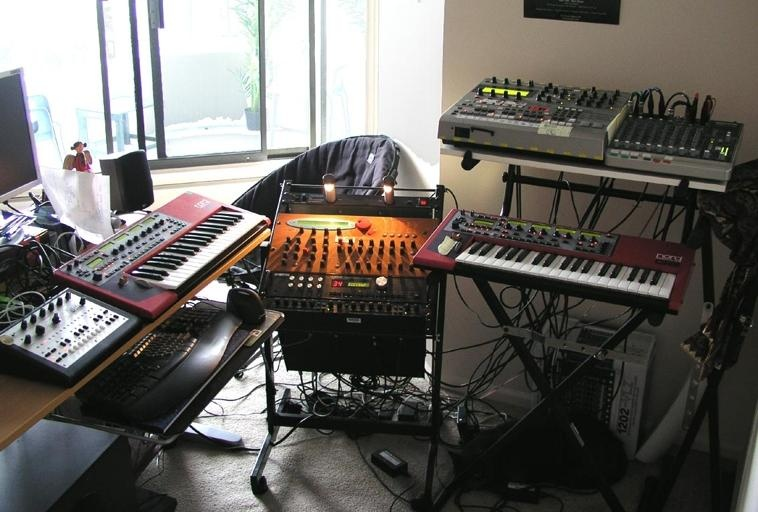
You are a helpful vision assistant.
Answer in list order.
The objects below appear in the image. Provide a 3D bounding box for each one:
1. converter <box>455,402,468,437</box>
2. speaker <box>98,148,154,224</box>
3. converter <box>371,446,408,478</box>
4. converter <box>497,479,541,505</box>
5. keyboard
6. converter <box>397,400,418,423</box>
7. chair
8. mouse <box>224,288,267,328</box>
[{"bbox_3d":[0.467,0.946,3.471,0.050,0.076,0.169,5,49,9],"label":"converter"},{"bbox_3d":[-1.358,-0.406,3.296,0.186,0.318,0.206,7,24,16],"label":"speaker"},{"bbox_3d":[0.063,1.113,3.268,0.208,0.066,0.127,17,27,32],"label":"converter"},{"bbox_3d":[0.714,1.215,3.126,0.198,0.073,0.074,4,23,6],"label":"converter"},{"bbox_3d":[-0.865,0.448,2.530,0.370,0.133,0.691,-2,29,22],"label":"keyboard"},{"bbox_3d":[0.163,0.887,3.457,0.119,0.116,0.207,2,9,3],"label":"converter"},{"bbox_3d":[-0.298,-0.342,3.511,1.089,0.847,1.059,-7,-4,-32],"label":"chair"},{"bbox_3d":[-0.607,0.187,2.795,0.168,0.213,0.216,3,32,-10],"label":"mouse"}]
